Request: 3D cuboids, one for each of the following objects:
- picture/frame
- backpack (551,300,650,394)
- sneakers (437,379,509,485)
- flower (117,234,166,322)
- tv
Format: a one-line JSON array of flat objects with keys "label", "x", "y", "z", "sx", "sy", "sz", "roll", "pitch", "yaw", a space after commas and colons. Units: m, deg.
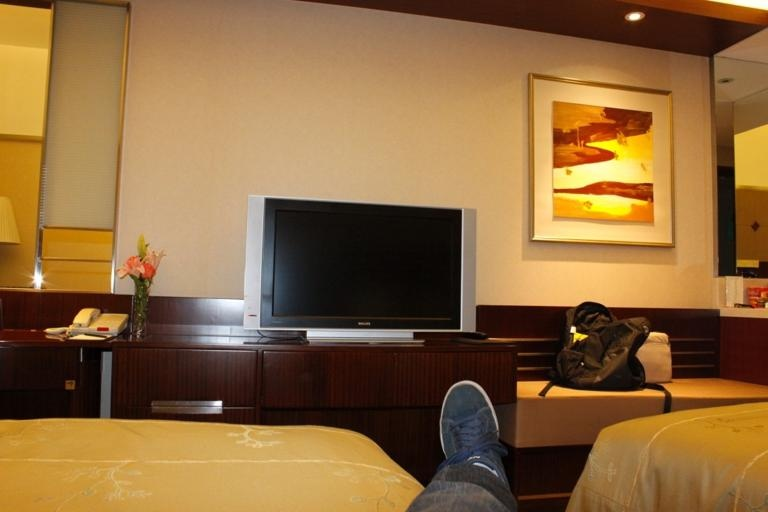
[{"label": "picture/frame", "x": 1.434, "y": -0.610, "z": 4.163, "sx": 1.214, "sy": 1.181, "sz": 0.064, "roll": 1, "pitch": -2, "yaw": -11}, {"label": "backpack", "x": 1.355, "y": 0.604, "z": 3.879, "sx": 0.577, "sy": 0.321, "sz": 0.666, "roll": 0, "pitch": 34, "yaw": 31}, {"label": "sneakers", "x": 0.421, "y": 0.872, "z": 3.012, "sx": 0.220, "sy": 0.237, "sz": 0.603, "roll": -10, "pitch": 34, "yaw": 7}, {"label": "flower", "x": -1.404, "y": 0.162, "z": 3.541, "sx": 0.248, "sy": 0.463, "sz": 0.233, "roll": 0, "pitch": -8, "yaw": 10}, {"label": "tv", "x": -0.117, "y": 0.095, "z": 3.653, "sx": 1.333, "sy": 0.805, "sz": 0.121, "roll": 2, "pitch": -3, "yaw": -13}]
